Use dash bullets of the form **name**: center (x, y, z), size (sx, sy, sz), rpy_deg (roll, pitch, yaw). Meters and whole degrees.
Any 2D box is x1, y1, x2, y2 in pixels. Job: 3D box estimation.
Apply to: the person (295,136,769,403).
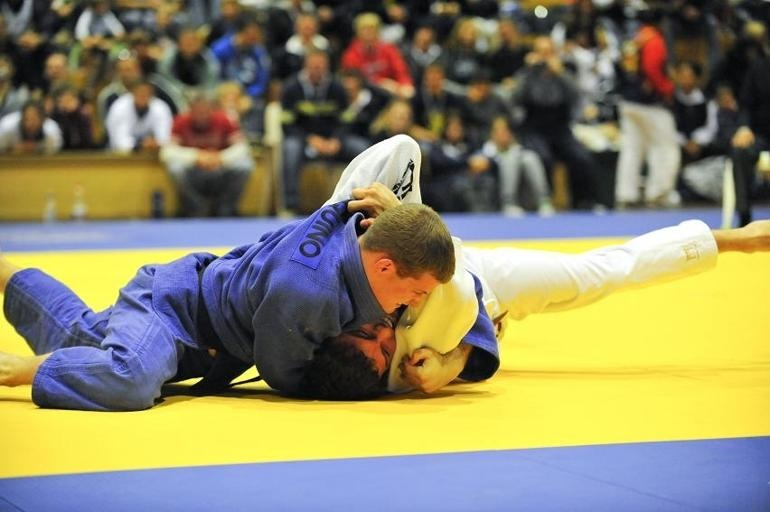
- **person**: center (0.477, -0.137, 4.524), size (2.725, 1.161, 0.929), rpy_deg (-16, 26, -7)
